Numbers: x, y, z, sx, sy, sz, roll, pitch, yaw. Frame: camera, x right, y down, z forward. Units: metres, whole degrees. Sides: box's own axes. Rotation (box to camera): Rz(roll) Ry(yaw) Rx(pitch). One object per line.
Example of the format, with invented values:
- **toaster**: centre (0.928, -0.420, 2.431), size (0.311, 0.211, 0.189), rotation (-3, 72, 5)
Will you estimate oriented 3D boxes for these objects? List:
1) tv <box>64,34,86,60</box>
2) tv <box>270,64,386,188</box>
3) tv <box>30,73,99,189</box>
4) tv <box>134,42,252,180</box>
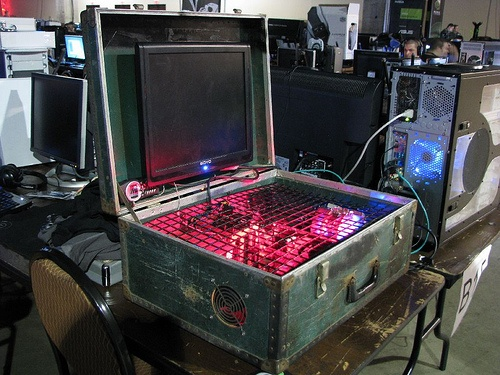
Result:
- **tv**: centre (-3.139, -2.511, 7.263), size (0.551, 0.435, 0.051), rotation (12, 21, 30)
- **tv**: centre (0.339, -0.309, 1.981), size (0.556, 0.548, 0.186), rotation (19, 38, 33)
- **tv**: centre (-1.030, -0.327, 2.283), size (0.524, 0.564, 0.213), rotation (14, 13, 35)
- **tv**: centre (-0.183, -0.276, 1.471), size (0.467, 0.468, 0.055), rotation (-17, 23, -40)
